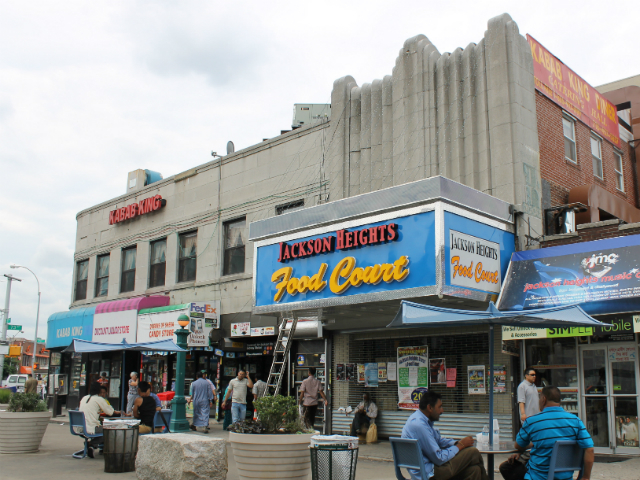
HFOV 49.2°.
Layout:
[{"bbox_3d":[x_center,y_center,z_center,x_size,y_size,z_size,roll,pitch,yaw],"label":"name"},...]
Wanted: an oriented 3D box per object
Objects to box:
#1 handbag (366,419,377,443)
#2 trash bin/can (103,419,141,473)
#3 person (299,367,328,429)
[{"bbox_3d":[1.517,5.617,20.454,0.321,0.695,0.617,-2,-17,10],"label":"handbag"},{"bbox_3d":[-4.570,4.675,15.893,0.746,1.170,0.815,7,-17,-19],"label":"trash bin/can"},{"bbox_3d":[-0.232,4.920,21.809,0.845,1.857,1.303,-10,-20,35],"label":"person"}]
